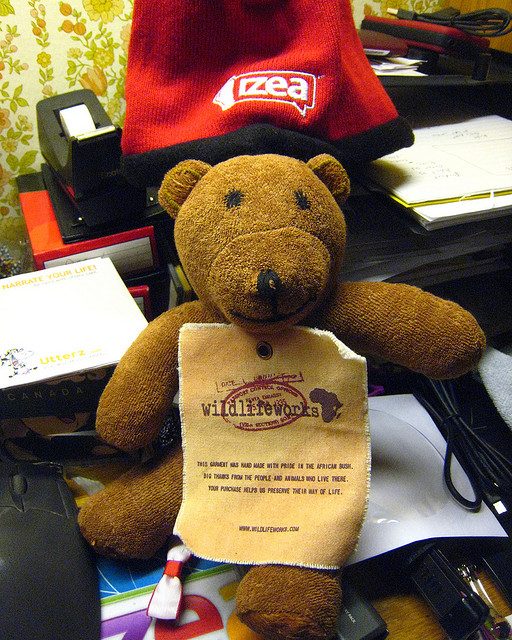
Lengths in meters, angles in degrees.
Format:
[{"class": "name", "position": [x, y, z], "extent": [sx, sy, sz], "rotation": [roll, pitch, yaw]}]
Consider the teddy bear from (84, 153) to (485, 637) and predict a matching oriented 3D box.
[{"class": "teddy bear", "position": [0.009, 0.057, 0.464], "extent": [0.280, 0.323, 0.297], "rotation": [23, 47, 24]}]

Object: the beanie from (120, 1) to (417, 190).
[{"class": "beanie", "position": [0.013, -0.250, 0.669], "extent": [0.323, 0.214, 0.260], "rotation": [-2, 38, -1]}]

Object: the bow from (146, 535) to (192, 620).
[{"class": "bow", "position": [-0.075, 0.240, 0.500], "extent": [0.032, 0.018, 0.081], "rotation": [9, 44, 9]}]
